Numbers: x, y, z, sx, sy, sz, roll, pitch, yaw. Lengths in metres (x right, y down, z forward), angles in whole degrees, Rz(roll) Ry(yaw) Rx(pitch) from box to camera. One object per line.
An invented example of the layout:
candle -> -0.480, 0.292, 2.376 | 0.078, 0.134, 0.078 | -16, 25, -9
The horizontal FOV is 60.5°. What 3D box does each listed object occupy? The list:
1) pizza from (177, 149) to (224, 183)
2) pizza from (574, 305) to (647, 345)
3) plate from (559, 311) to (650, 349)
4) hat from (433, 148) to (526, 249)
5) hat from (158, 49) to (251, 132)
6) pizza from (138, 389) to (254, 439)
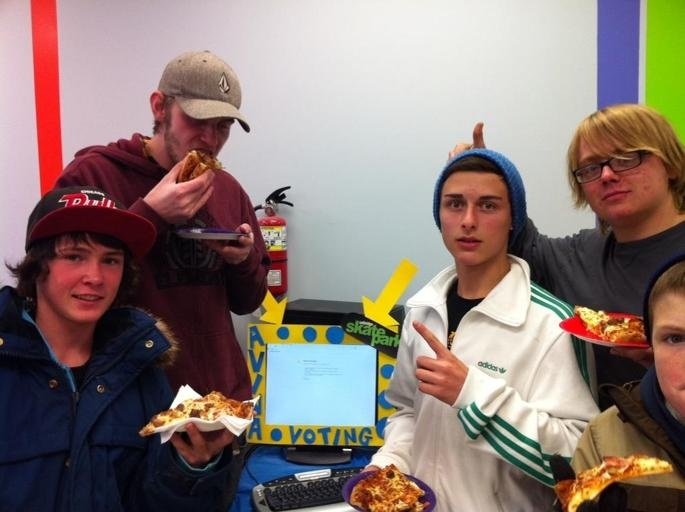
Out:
pizza -> -0.517, -0.311, 2.104 | 0.117, 0.122, 0.056 | 9, -17, -1
pizza -> 0.802, 0.188, 1.787 | 0.108, 0.025, 0.138 | -8, 19, -26
plate -> 0.745, 0.234, 1.755 | 0.144, 0.020, 0.139 | -11, 18, -39
hat -> 0.480, -0.245, 2.142 | 0.289, 0.364, 0.345 | 5, 52, 7
hat -> -0.494, -0.601, 2.164 | 0.310, 0.189, 0.231 | 33, 15, 32
pizza -> -0.399, 0.461, 1.722 | 0.197, 0.062, 0.185 | -19, 8, -23
